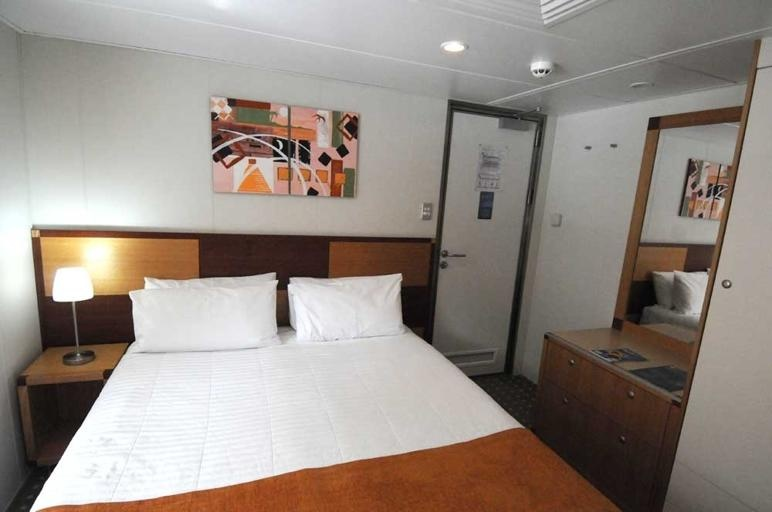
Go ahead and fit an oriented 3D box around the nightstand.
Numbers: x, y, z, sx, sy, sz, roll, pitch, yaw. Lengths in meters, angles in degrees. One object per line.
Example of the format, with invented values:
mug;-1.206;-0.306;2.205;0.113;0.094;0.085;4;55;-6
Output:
nightstand;-2.167;1.008;3.714;0.701;0.723;0.718;-1;4;-23
